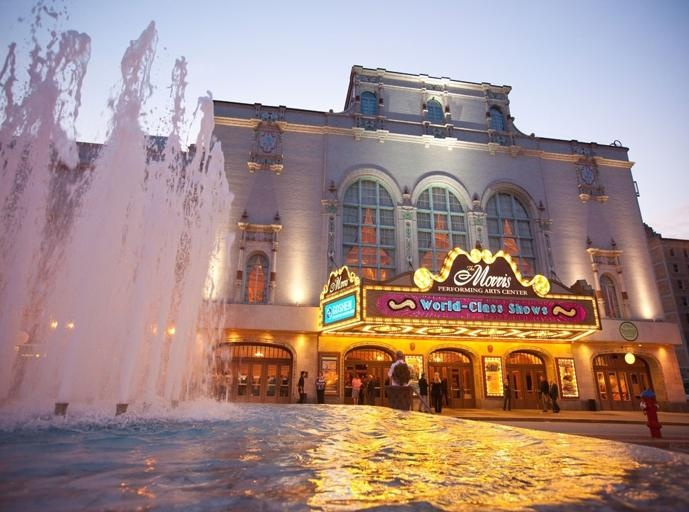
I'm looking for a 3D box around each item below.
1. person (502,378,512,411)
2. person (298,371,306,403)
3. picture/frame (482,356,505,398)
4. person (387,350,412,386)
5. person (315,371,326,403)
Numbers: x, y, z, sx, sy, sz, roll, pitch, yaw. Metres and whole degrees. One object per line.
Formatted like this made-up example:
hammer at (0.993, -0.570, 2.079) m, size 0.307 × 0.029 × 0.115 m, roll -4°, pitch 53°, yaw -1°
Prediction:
person at (9.032, 7.682, 23.885) m, size 0.466 × 1.579 × 1.774 m, roll -3°, pitch -15°, yaw 19°
person at (-2.229, 6.693, 21.942) m, size 0.446 × 1.581 × 1.371 m, roll 3°, pitch -14°, yaw -5°
picture/frame at (8.553, 6.969, 24.727) m, size 1.222 × 2.220 × 0.109 m, roll 3°, pitch -13°, yaw -10°
person at (1.718, 3.576, 13.608) m, size 0.597 × 1.042 × 1.629 m, roll 0°, pitch -14°, yaw 6°
person at (-1.269, 6.808, 22.180) m, size 0.549 × 1.532 × 1.314 m, roll 3°, pitch -14°, yaw -4°
